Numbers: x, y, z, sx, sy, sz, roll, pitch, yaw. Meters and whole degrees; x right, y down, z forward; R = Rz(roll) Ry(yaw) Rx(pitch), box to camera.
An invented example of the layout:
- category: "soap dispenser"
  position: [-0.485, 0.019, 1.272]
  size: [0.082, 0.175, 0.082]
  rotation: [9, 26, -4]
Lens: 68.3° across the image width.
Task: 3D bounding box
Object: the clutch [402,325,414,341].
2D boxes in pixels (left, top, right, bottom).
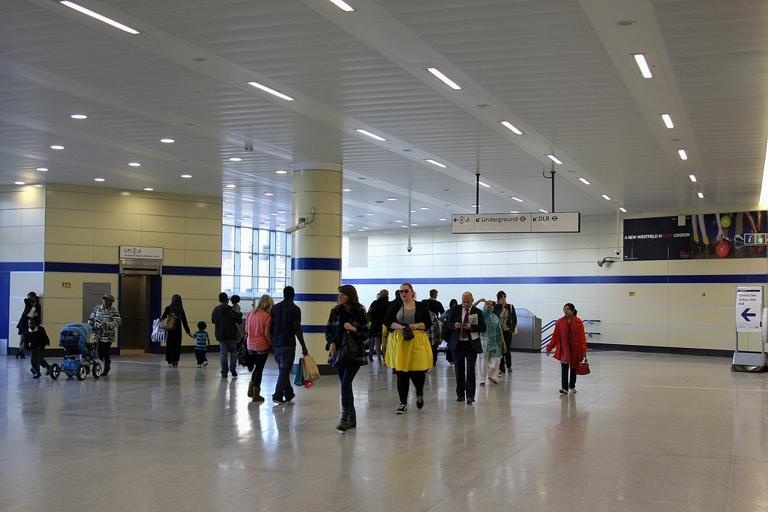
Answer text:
- category: "clutch"
  position: [0.380, 1.290, 9.469]
  size: [0.276, 0.352, 0.204]
  rotation: [-4, -6, 0]

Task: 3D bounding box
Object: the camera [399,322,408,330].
- category: "camera"
  position: [0.320, 1.190, 9.551]
  size: [0.132, 0.059, 0.171]
  rotation: [3, -2, -9]

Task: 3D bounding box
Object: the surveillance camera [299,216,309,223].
- category: "surveillance camera"
  position: [-2.181, -0.951, 14.990]
  size: [0.271, 0.134, 0.185]
  rotation: [2, -9, 22]

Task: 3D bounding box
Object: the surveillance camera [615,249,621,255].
- category: "surveillance camera"
  position: [10.003, -0.153, 24.230]
  size: [0.251, 0.280, 0.310]
  rotation: [6, 4, 8]

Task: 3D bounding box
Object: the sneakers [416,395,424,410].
- category: "sneakers"
  position: [0.633, 2.666, 10.252]
  size: [0.211, 0.213, 0.563]
  rotation: [0, -11, 0]

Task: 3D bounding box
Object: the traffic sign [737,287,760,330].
- category: "traffic sign"
  position: [11.598, 1.688, 17.964]
  size: [0.739, 1.424, 0.488]
  rotation: [-2, -4, 32]

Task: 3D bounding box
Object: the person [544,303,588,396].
- category: "person"
  position: [3.978, 2.002, 12.336]
  size: [0.822, 1.913, 1.376]
  rotation: [-1, -4, 18]

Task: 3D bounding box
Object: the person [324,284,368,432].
- category: "person"
  position: [-0.596, 1.551, 8.840]
  size: [0.650, 2.189, 0.764]
  rotation: [1, -4, -5]

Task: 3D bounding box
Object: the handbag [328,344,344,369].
- category: "handbag"
  position: [-0.717, 1.578, 8.842]
  size: [0.148, 0.327, 0.265]
  rotation: [21, -15, -41]

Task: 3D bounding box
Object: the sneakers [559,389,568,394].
- category: "sneakers"
  position: [3.810, 2.905, 12.074]
  size: [0.087, 0.106, 0.166]
  rotation: [-5, -20, 27]

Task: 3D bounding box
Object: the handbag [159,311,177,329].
- category: "handbag"
  position: [-6.193, 1.854, 16.182]
  size: [0.591, 0.570, 0.273]
  rotation: [3, -10, 4]
